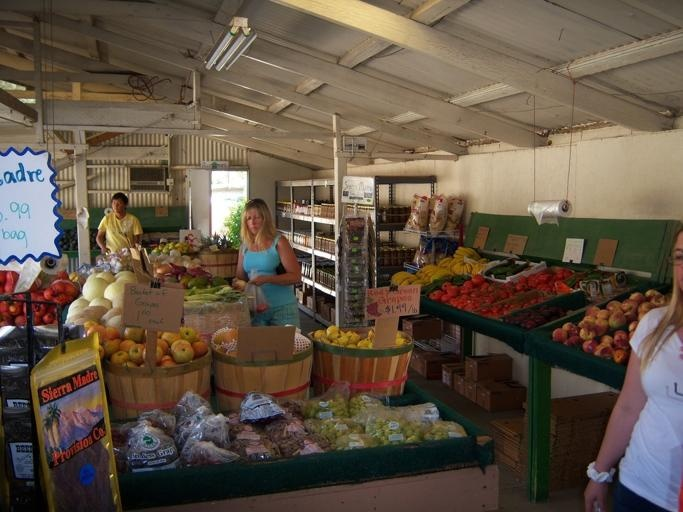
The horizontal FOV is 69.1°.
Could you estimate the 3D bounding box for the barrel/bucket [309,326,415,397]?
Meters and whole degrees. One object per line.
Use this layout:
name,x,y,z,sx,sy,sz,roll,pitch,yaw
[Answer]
barrel/bucket,0.120,0.551,2.939,0.488,0.489,0.412,-1,4,-12

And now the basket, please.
basket,-0.809,0.425,3.154,0.316,0.239,0.362,2,6,-21

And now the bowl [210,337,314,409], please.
bowl,-0.435,0.603,2.721,0.449,0.293,0.409,2,-2,0

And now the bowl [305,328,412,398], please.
bowl,0.103,0.707,3.135,0.687,0.380,0.603,3,2,-17

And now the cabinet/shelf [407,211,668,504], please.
cabinet/shelf,1.466,0.686,3.653,1.684,1.532,2.311,0,3,-7

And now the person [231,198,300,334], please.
person,-0.578,0.085,3.851,0.459,1.030,0.456,-1,9,-33

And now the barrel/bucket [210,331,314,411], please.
barrel/bucket,-0.477,0.582,2.912,0.622,0.461,0.473,0,8,-13

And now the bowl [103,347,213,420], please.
bowl,-0.984,0.630,2.691,0.461,0.293,0.521,0,7,-22

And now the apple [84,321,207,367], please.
apple,-1.032,0.482,2.637,0.440,0.130,0.406,2,-2,8

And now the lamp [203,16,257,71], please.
lamp,-1.027,-1.884,4.467,0.230,0.171,0.760,6,-9,-29
